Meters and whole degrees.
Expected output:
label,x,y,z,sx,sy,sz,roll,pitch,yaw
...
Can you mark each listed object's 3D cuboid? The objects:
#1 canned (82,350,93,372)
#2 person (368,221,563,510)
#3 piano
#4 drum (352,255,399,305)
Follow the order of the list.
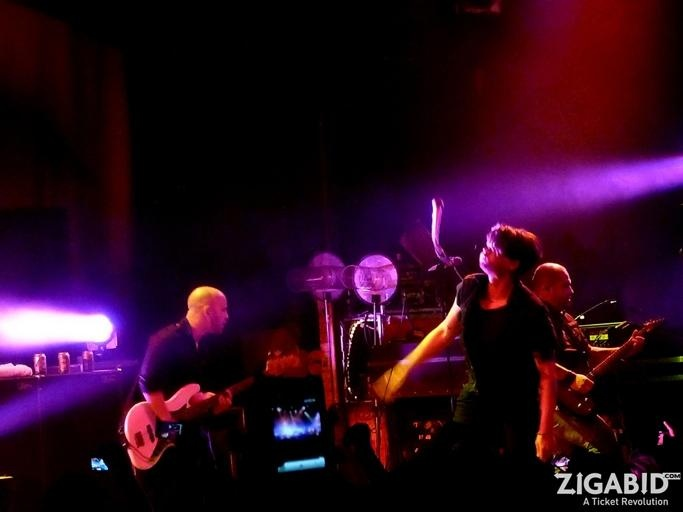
label,x,y,z,sx,sy,sz,roll,pitch,yaw
canned,-3.059,1.261,7.248,0.161,0.302,0.156,3,-11,-28
person,1.045,0.797,4.364,1.014,2.024,0.375,-10,-11,17
piano,0.629,1.246,6.019,1.230,1.369,2.426,-1,-3,4
drum,0.372,0.231,6.363,0.440,0.487,0.441,7,1,16
